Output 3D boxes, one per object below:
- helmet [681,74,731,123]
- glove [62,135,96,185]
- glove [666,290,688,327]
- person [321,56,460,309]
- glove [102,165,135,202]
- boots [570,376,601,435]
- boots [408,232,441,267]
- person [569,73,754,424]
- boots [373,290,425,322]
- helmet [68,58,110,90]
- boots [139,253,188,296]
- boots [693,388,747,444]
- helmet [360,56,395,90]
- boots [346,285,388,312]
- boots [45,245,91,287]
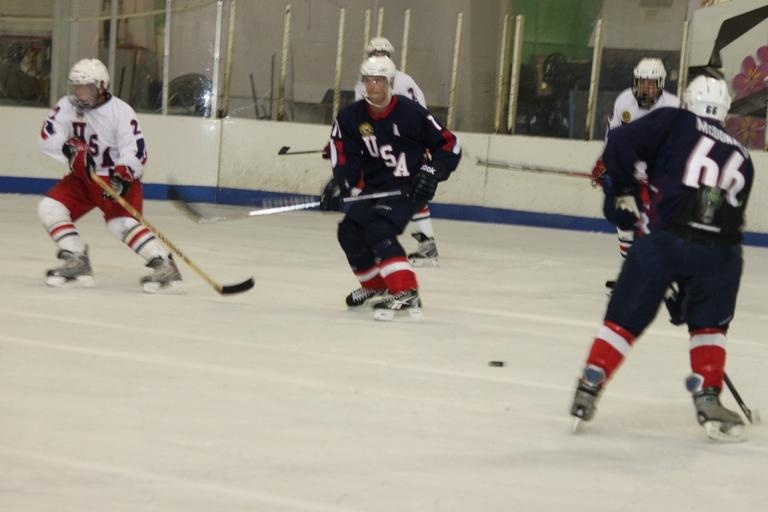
[{"bbox_3d":[1.562,-0.765,5.078,0.213,0.201,0.234,13,21,-5],"label":"helmet"},{"bbox_3d":[-1.914,-0.592,6.525,0.159,0.121,0.356,1,46,-48],"label":"glove"},{"bbox_3d":[1.405,0.260,5.047,0.074,0.142,0.213,-18,7,7],"label":"glove"},{"bbox_3d":[0.057,-0.427,6.323,0.530,1.516,0.609,-6,13,-42],"label":"person"},{"bbox_3d":[-1.635,-0.446,6.453,0.202,0.182,0.100,12,15,4],"label":"glove"},{"bbox_3d":[0.930,0.696,4.846,0.128,0.239,0.125,5,10,16],"label":"boots"},{"bbox_3d":[0.353,-0.034,7.820,0.325,0.277,0.163,-1,-6,4],"label":"boots"},{"bbox_3d":[1.316,0.044,4.902,0.758,1.461,0.554,4,10,9],"label":"person"},{"bbox_3d":[0.081,0.298,6.172,0.393,0.222,0.123,1,1,-6],"label":"boots"},{"bbox_3d":[-1.830,-1.136,6.588,0.245,0.198,0.188,7,1,-34],"label":"helmet"},{"bbox_3d":[-1.367,0.119,6.415,0.154,0.140,0.324,-11,9,2],"label":"boots"},{"bbox_3d":[1.573,0.733,4.903,0.128,0.149,0.364,-17,-6,25],"label":"boots"},{"bbox_3d":[-0.042,-1.077,6.180,0.188,0.148,0.143,11,-5,-34],"label":"helmet"},{"bbox_3d":[-0.123,0.261,6.357,0.290,0.127,0.103,-9,13,-24],"label":"boots"},{"bbox_3d":[-1.940,0.061,6.448,0.276,0.211,0.293,-1,10,-18],"label":"boots"}]
